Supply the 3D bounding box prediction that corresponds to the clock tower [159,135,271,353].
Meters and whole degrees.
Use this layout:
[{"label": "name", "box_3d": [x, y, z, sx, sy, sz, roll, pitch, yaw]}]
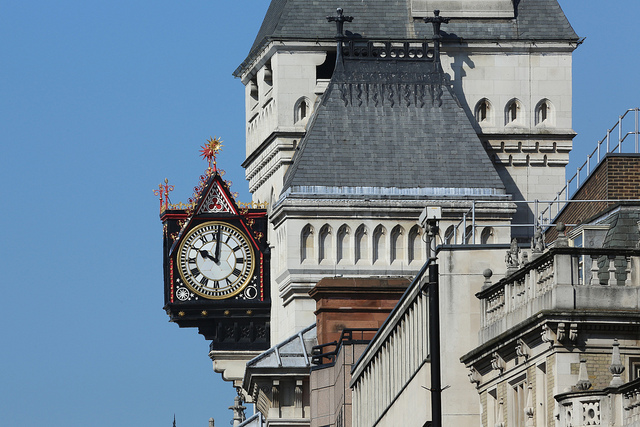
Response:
[{"label": "clock tower", "box_3d": [-5.053, 1.387, 126.524, 5.416, 11.261, 3.005, -1, -18, -3]}]
